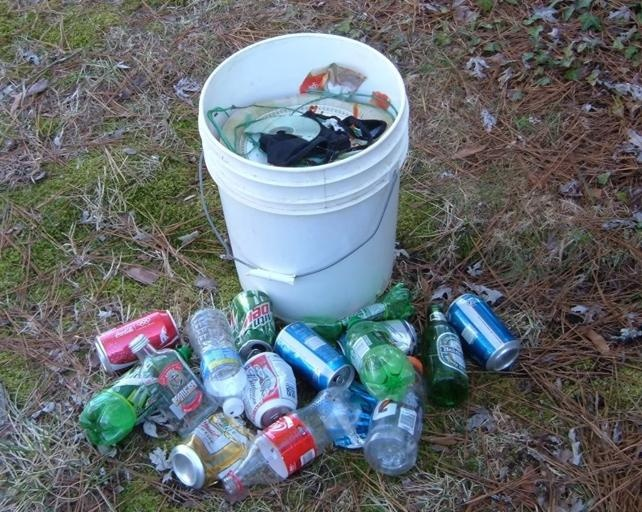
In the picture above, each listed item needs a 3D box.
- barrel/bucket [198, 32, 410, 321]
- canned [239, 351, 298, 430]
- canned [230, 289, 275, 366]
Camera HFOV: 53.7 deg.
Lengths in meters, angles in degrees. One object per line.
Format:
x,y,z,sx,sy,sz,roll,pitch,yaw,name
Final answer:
-0.022,-0.248,2.636,0.850,0.896,0.778,-3,47,3,barrel/bucket
-0.201,0.502,2.420,0.198,0.176,0.270,-11,48,-12,canned
-0.261,0.283,2.573,0.181,0.171,0.287,9,52,-26,canned
